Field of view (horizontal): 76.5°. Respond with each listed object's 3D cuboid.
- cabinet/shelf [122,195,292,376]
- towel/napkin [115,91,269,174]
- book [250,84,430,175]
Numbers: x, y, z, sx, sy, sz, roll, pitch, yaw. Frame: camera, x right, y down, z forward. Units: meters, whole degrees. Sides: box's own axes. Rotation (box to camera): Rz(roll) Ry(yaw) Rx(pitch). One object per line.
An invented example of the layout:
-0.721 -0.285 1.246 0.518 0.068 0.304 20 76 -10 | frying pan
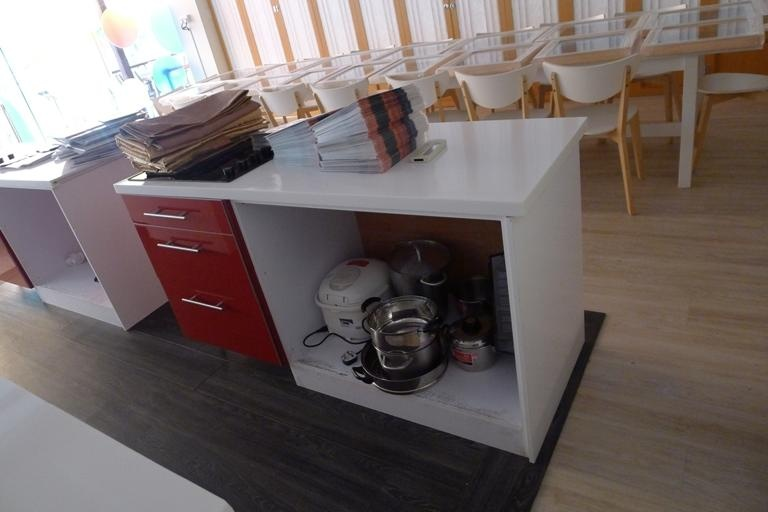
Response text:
-0.773 0.007 2.687 0.686 0.926 0.736 9 36 34 | cabinet/shelf
-0.846 -0.556 2.301 0.420 0.183 0.571 23 48 39 | towel/napkin
-0.173 -0.548 2.094 0.652 0.277 0.394 1 35 23 | book
